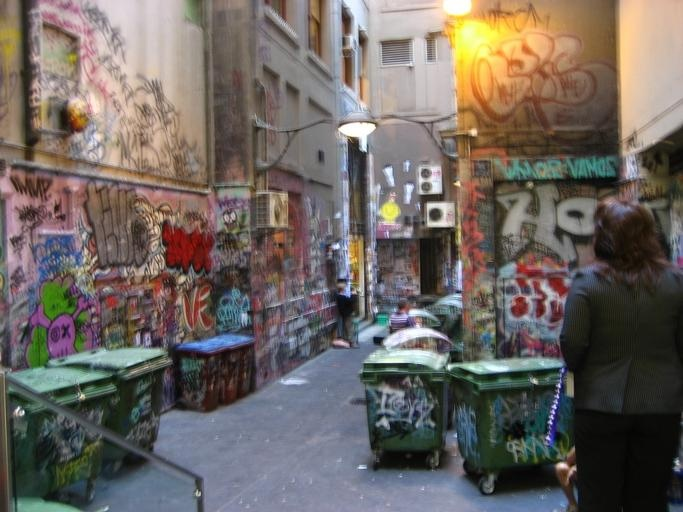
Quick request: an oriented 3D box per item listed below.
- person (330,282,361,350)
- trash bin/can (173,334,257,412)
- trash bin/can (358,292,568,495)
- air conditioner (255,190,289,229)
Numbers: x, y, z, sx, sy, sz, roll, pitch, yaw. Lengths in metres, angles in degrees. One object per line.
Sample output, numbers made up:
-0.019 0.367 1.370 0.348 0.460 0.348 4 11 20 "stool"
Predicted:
0.115 1.530 16.528 0.648 1.809 0.997 -1 2 -2 "person"
-2.276 1.633 10.418 0.764 0.978 1.636 -1 0 18 "trash bin/can"
1.445 1.800 7.114 1.819 1.495 1.366 -2 -3 8 "trash bin/can"
-1.366 -0.913 11.954 0.314 0.716 0.627 1 2 35 "air conditioner"
